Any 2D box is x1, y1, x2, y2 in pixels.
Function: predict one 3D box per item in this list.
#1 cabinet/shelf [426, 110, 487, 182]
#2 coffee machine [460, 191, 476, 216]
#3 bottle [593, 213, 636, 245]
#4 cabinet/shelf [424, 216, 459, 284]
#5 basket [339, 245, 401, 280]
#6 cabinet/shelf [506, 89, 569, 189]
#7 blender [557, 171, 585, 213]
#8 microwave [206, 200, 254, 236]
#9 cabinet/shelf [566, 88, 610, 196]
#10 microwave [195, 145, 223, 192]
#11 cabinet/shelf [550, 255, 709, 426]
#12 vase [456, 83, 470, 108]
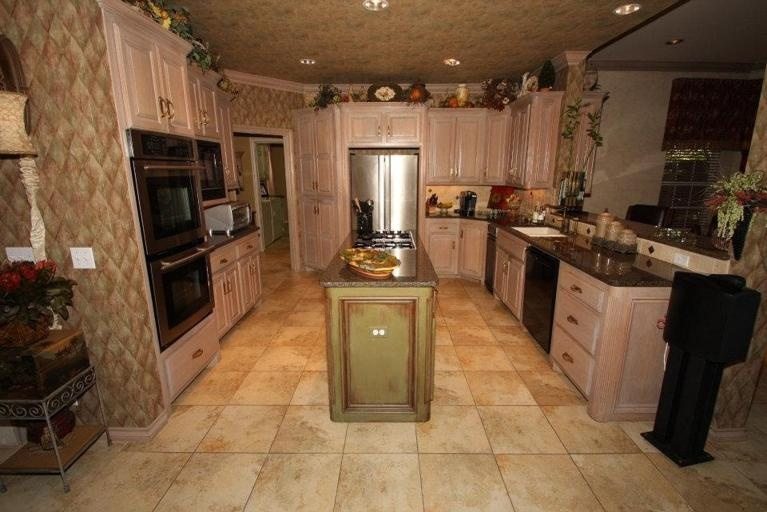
[{"bbox_3d":[1.107,-1.692,7.067,1.018,1.127,0.562,0,11,0],"label":"cabinet/shelf"},{"bbox_3d":[1.316,-0.812,7.315,0.232,0.360,0.465,1,13,9],"label":"coffee machine"},{"bbox_3d":[2.482,-0.278,5.062,0.199,0.318,0.479,-5,9,-10],"label":"bottle"},{"bbox_3d":[0.978,-0.091,7.482,0.525,0.961,0.508,0,-5,15],"label":"cabinet/shelf"},{"bbox_3d":[-0.116,0.059,4.196,0.574,0.217,0.323,8,15,35],"label":"basket"},{"bbox_3d":[1.980,-1.540,6.373,0.366,1.222,0.788,-7,15,-25],"label":"cabinet/shelf"},{"bbox_3d":[2.429,-0.823,6.037,0.367,0.508,0.330,-1,13,0],"label":"blender"},{"bbox_3d":[-1.982,-0.504,5.920,0.424,0.343,0.554,2,13,5],"label":"microwave"},{"bbox_3d":[2.695,-1.581,6.310,0.620,1.167,0.345,-16,10,-42],"label":"cabinet/shelf"},{"bbox_3d":[-1.954,-0.972,5.234,0.205,0.558,0.615,-4,13,-2],"label":"microwave"},{"bbox_3d":[2.047,0.721,5.014,1.381,1.788,1.360,0,12,-2],"label":"cabinet/shelf"},{"bbox_3d":[1.173,-2.392,7.026,0.172,0.323,0.157,1,14,7],"label":"vase"}]
